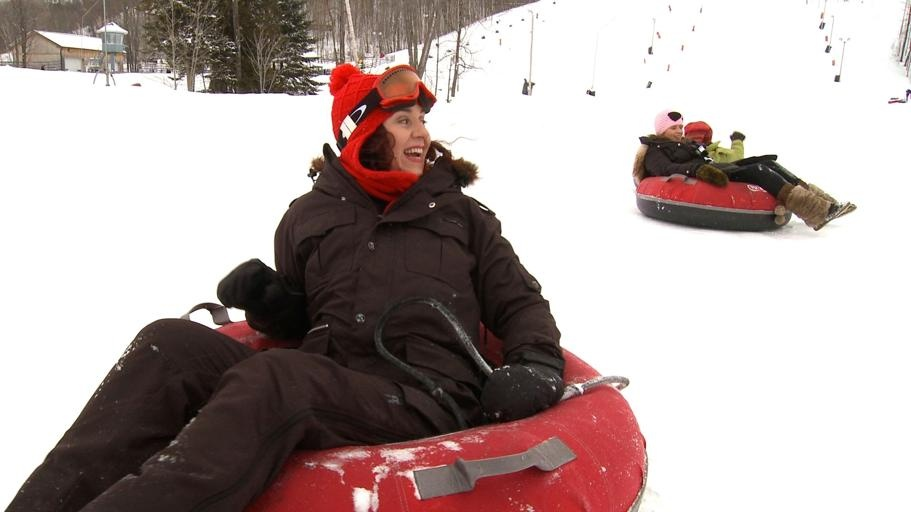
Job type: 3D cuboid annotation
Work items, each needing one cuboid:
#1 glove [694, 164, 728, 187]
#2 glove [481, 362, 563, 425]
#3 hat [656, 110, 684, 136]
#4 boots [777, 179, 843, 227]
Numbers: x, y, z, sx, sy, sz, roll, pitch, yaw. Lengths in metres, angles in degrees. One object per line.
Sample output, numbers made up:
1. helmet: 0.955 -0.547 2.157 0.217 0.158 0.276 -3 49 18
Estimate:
1. glove: 3.457 -1.088 9.177 0.153 0.229 0.413 -32 25 -19
2. glove: 0.490 0.990 5.065 0.577 0.172 0.417 -7 10 -11
3. hat: 3.257 -2.033 10.403 0.447 0.365 0.349 10 30 39
4. boots: 4.682 -0.678 9.173 0.677 0.597 0.266 39 -9 6
